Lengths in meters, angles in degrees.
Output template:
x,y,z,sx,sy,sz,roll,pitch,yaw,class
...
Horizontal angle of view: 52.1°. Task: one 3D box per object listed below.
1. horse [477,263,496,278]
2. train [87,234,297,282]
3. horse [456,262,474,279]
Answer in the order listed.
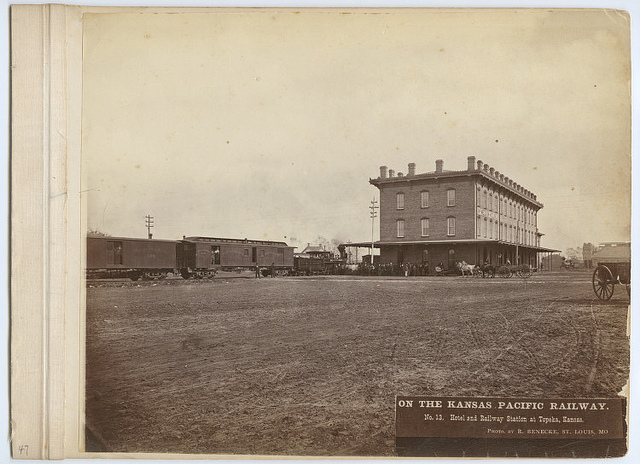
x,y,z,sx,sy,sz,roll,pitch,yaw,class
7.289,1.685,28.706,0.767,0.590,0.449,0,2,9,horse
-5.688,1.090,28.972,11.149,2.302,1.738,3,0,-43,train
6.345,1.662,28.726,0.720,0.623,0.384,0,3,20,horse
